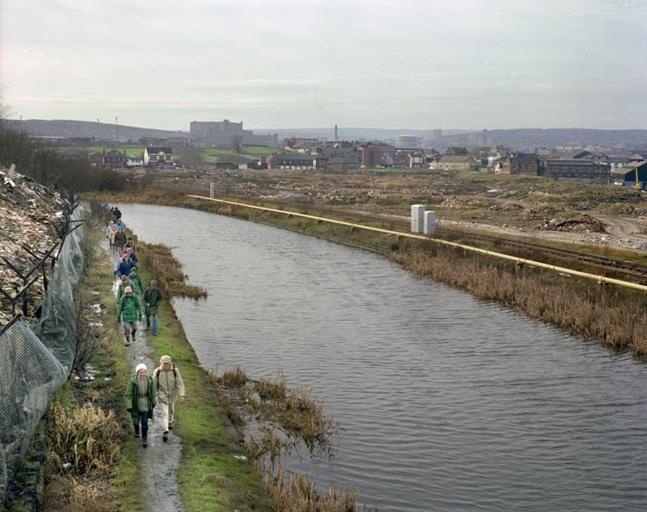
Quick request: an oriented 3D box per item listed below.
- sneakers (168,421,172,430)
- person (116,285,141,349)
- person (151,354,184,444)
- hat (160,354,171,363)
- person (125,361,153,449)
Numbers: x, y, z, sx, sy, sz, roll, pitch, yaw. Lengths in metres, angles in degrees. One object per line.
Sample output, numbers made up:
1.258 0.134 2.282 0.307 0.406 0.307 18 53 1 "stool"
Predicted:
-4.809 5.267 22.497 0.109 0.174 0.277 -5 -10 -10 "sneakers"
-7.771 2.262 28.528 0.721 2.291 1.055 3 12 1 "person"
-4.792 4.169 21.920 0.896 2.532 1.137 0 13 -13 "person"
-4.777 3.082 21.680 0.278 0.310 0.354 0 13 -15 "hat"
-5.417 4.263 21.278 0.772 2.538 0.845 0 13 -12 "person"
